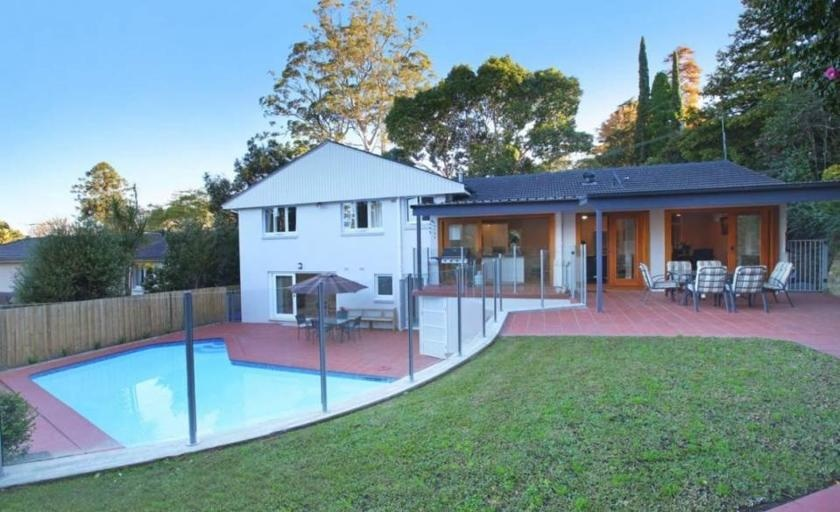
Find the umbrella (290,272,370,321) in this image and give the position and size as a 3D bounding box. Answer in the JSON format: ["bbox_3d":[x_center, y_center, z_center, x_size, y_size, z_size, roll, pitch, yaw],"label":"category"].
[{"bbox_3d":[-3.437,1.263,21.287,1.435,0.598,1.610,7,16,30],"label":"umbrella"}]

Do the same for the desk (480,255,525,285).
[{"bbox_3d":[3.524,0.583,24.778,1.815,1.330,1.067,-1,-5,5],"label":"desk"}]
